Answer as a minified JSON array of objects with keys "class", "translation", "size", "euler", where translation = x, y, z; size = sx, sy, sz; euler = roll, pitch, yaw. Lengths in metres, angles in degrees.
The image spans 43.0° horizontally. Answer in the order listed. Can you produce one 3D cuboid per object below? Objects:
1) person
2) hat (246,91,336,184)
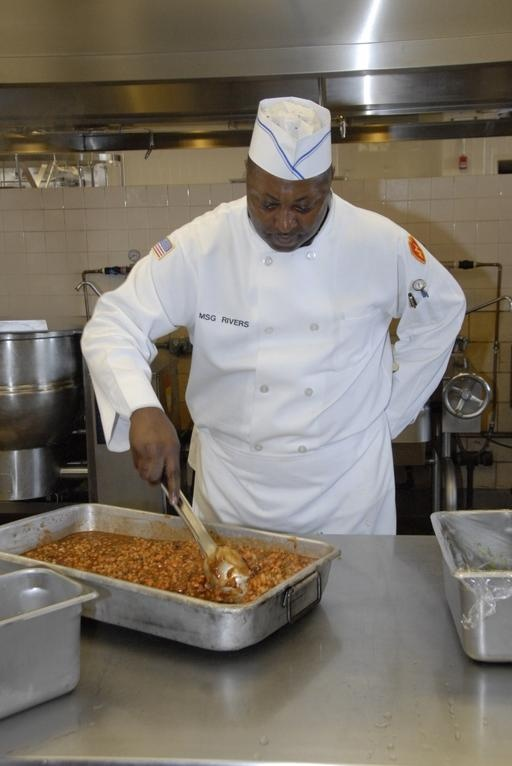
[{"class":"person","translation":[0.030,-0.019,1.472],"size":[0.873,0.786,0.428],"euler":[-8,12,-40]},{"class":"hat","translation":[0.066,-0.461,1.204],"size":[0.153,0.104,0.200],"euler":[4,48,-5]}]
